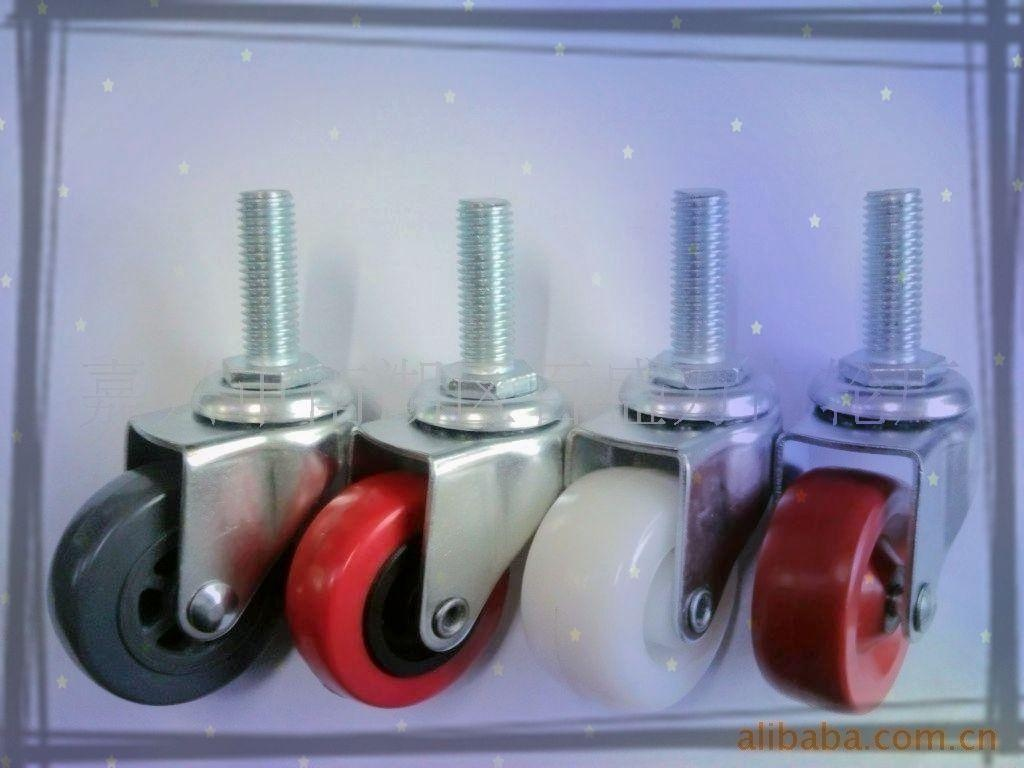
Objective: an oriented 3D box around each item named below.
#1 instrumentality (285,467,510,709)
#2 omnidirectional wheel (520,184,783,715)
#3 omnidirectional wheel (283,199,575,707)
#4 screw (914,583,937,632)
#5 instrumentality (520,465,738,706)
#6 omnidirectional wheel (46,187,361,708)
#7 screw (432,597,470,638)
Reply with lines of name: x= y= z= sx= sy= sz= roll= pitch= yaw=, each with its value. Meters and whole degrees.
instrumentality: x=-0.134 y=0.263 z=1.210 sx=0.257 sy=0.274 sz=0.089 roll=-17 pitch=20 yaw=-35
omnidirectional wheel: x=0.174 y=0.065 z=1.197 sx=0.220 sy=0.681 sz=0.349 roll=9 pitch=15 yaw=41
omnidirectional wheel: x=-0.095 y=0.067 z=1.194 sx=0.365 sy=0.675 sz=0.209 roll=-13 pitch=21 yaw=-36
screw: x=0.469 y=0.254 z=1.109 sx=0.011 sy=0.062 sz=0.064 roll=5 pitch=11 yaw=39
instrumentality: x=0.157 y=0.256 z=1.220 sx=0.303 sy=0.322 sz=0.167 roll=-5 pitch=8 yaw=-43
omnidirectional wheel: x=-0.382 y=0.054 z=1.233 sx=0.219 sy=0.692 sz=0.368 roll=14 pitch=16 yaw=42
screw: x=-0.076 y=0.272 z=1.143 sx=0.031 sy=0.034 sz=0.033 roll=26 pitch=57 yaw=36
